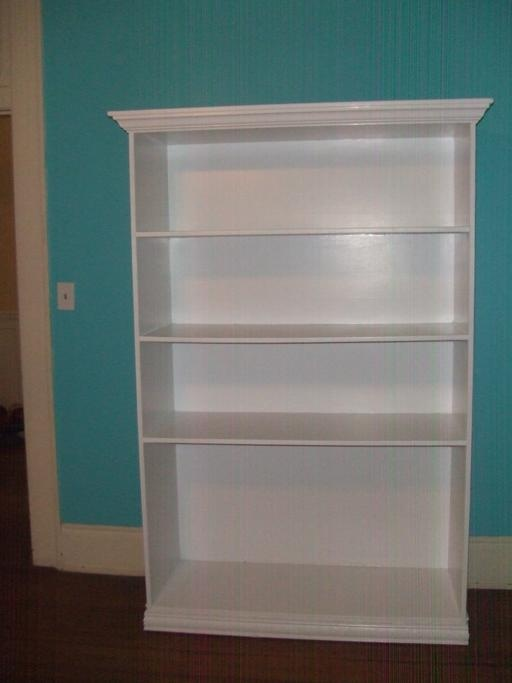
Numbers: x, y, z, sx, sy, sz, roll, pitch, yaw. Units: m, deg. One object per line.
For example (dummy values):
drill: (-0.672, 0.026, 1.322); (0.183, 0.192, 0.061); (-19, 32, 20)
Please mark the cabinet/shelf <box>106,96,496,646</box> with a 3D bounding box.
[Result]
cabinet/shelf: (0.045, 0.029, 0.655); (0.333, 0.524, 0.143); (2, 11, 9)
